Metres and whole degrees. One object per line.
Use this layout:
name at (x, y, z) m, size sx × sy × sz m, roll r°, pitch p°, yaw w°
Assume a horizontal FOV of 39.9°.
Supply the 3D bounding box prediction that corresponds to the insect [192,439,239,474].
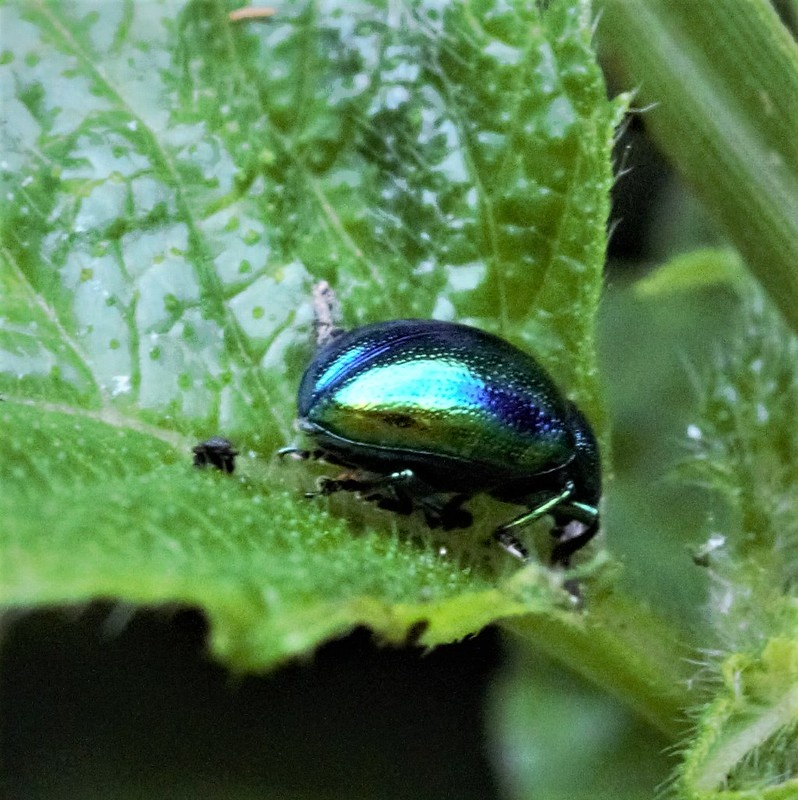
insect at (-0.146, 0.044, 0.877) m, size 0.035 × 0.020 × 0.022 m, roll 6°, pitch 43°, yaw -6°

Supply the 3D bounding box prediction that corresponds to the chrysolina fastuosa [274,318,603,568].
chrysolina fastuosa at (0.038, 0.017, 0.927) m, size 0.329 × 0.144 × 0.209 m, roll 12°, pitch 20°, yaw -27°
